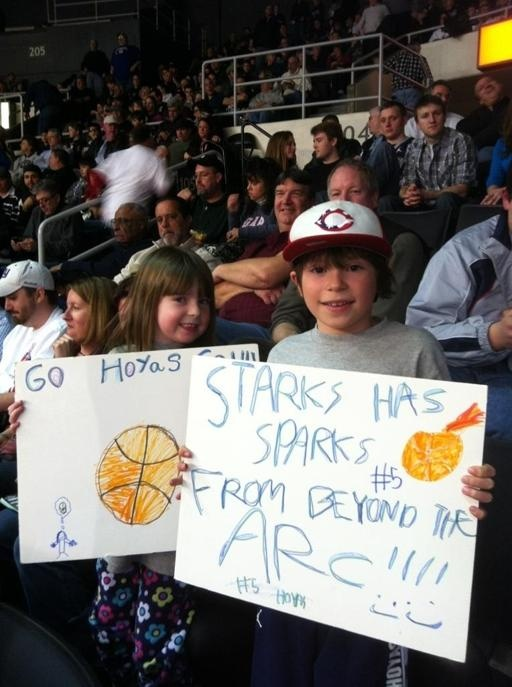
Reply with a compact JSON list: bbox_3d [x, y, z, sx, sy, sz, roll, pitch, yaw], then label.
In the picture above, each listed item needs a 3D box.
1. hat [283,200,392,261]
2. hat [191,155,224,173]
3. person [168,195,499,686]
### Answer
[{"bbox_3d":[0.180,-0.255,1.425,0.212,0.114,0.256,-4,-3,6],"label":"hat"},{"bbox_3d":[-0.336,-1.286,4.768,0.139,0.073,0.223,23,13,32],"label":"hat"},{"bbox_3d":[0.188,0.218,1.368,0.577,0.974,0.523,4,21,16],"label":"person"}]
